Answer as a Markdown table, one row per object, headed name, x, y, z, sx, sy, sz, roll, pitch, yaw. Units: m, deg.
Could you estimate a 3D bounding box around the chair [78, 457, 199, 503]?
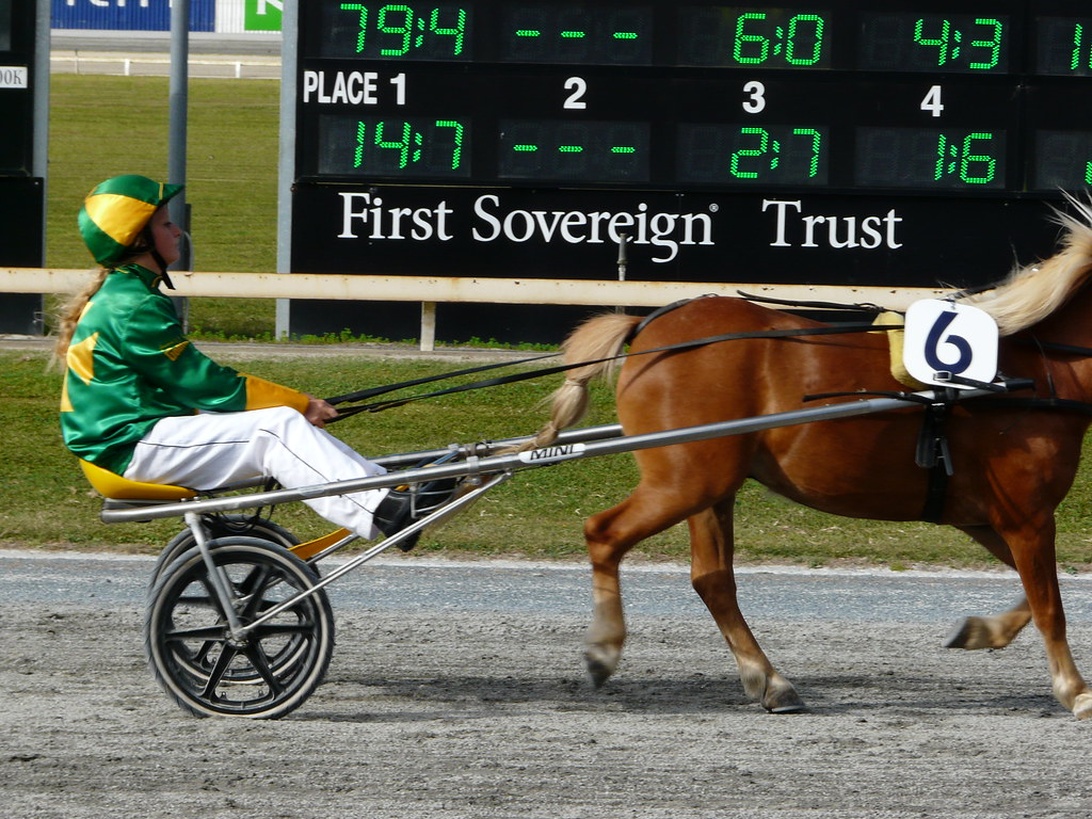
| name | x | y | z | sx | sy | sz | roll | pitch | yaw |
| --- | --- | --- | --- | --- | --- | --- | --- | --- | --- |
| chair | -2.582 | 0.457 | 15.544 | 0.517 | 0.137 | 0.366 | 6 | -5 | -18 |
